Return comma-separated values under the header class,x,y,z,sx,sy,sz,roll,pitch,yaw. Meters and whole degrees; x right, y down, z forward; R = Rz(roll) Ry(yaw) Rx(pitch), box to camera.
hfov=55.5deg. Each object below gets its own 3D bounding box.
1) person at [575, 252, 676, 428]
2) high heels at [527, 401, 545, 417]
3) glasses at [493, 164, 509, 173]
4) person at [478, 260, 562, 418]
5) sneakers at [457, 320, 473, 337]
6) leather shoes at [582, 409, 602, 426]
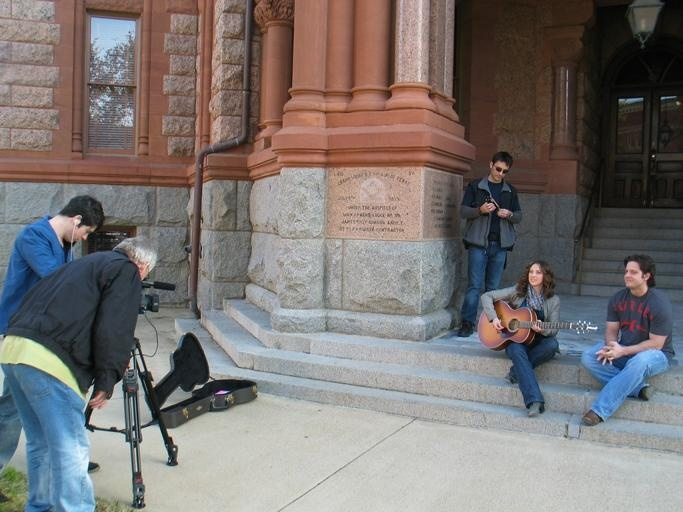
class,x,y,z,sx,sy,sz,roll,pitch,yaw
person,2.566,0.735,5.795,0.824,1.478,0.502,0,3,9
high heels,1.739,1.377,5.829,0.073,0.098,0.218,-13,-25,24
glasses,1.756,-0.944,7.162,0.146,0.079,0.153,1,3,12
person,1.788,0.744,6.241,0.624,1.359,0.785,-2,4,-28
sneakers,1.341,0.825,7.280,0.097,0.191,0.257,-3,-8,35
leather shoes,2.177,1.413,5.660,0.083,0.103,0.234,9,-9,40
